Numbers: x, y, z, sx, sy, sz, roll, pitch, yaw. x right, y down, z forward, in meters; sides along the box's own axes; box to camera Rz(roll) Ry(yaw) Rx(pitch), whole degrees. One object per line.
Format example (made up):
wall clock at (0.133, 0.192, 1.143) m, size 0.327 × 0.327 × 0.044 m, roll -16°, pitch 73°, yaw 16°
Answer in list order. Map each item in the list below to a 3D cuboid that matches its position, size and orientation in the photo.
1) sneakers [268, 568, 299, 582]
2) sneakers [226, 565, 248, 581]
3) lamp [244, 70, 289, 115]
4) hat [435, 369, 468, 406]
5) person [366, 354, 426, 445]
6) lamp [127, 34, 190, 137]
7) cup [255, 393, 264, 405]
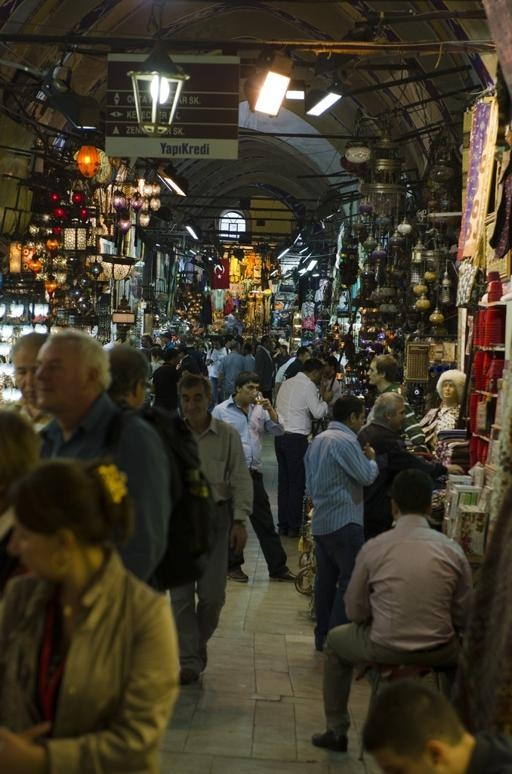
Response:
sneakers at (0.278, 1.939, 6.208) m, size 0.321 × 0.142 × 0.118 m, roll -3°, pitch -2°, yaw -3°
sneakers at (-0.229, 1.907, 6.267) m, size 0.299 × 0.128 × 0.130 m, roll -5°, pitch -8°, yaw 43°
lamp at (0.176, -3.127, 6.412) m, size 0.361 × 0.372 × 0.676 m, roll 28°, pitch 39°, yaw -2°
hat at (1.981, -0.004, 6.186) m, size 0.290 × 0.375 × 0.337 m, roll 4°, pitch -3°, yaw 15°
person at (1.514, 0.114, 6.441) m, size 0.563 × 1.340 × 0.942 m, roll -1°, pitch -4°, yaw 0°
lamp at (-0.906, -2.781, 5.813) m, size 0.718 × 1.025 × 0.736 m, roll 1°, pitch 0°, yaw -3°
cup at (0.031, 0.117, 6.236) m, size 0.103 × 0.116 × 0.103 m, roll 0°, pitch -5°, yaw 0°
